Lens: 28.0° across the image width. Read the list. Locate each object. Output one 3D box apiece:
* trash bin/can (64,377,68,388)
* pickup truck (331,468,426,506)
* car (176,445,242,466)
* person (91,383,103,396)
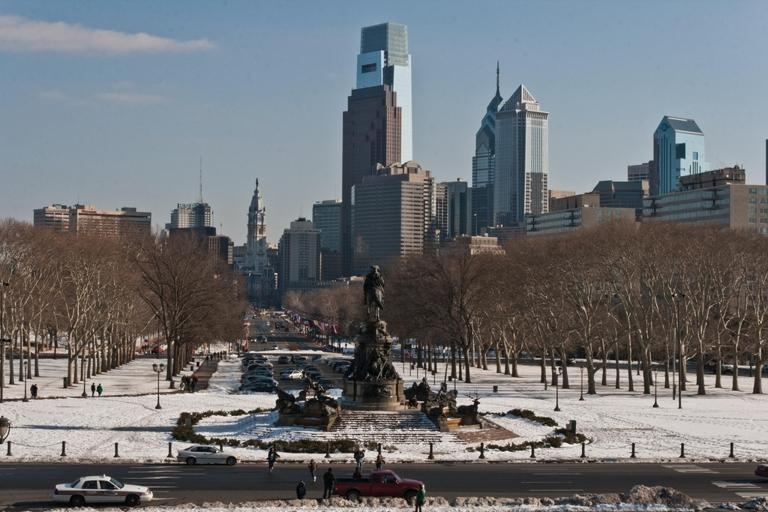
[{"bbox_3d":[-40.489,16.320,198.504,0.663,1.251,1.635,-1,9,-11],"label":"trash bin/can"},{"bbox_3d":[-0.558,24.288,159.255,8.038,2.852,3.884,-1,-1,1],"label":"pickup truck"},{"bbox_3d":[-18.948,21.983,166.734,5.676,1.780,2.554,0,-2,-2],"label":"car"},{"bbox_3d":[-35.778,16.986,193.338,1.137,2.401,0.724,8,12,31],"label":"person"}]
